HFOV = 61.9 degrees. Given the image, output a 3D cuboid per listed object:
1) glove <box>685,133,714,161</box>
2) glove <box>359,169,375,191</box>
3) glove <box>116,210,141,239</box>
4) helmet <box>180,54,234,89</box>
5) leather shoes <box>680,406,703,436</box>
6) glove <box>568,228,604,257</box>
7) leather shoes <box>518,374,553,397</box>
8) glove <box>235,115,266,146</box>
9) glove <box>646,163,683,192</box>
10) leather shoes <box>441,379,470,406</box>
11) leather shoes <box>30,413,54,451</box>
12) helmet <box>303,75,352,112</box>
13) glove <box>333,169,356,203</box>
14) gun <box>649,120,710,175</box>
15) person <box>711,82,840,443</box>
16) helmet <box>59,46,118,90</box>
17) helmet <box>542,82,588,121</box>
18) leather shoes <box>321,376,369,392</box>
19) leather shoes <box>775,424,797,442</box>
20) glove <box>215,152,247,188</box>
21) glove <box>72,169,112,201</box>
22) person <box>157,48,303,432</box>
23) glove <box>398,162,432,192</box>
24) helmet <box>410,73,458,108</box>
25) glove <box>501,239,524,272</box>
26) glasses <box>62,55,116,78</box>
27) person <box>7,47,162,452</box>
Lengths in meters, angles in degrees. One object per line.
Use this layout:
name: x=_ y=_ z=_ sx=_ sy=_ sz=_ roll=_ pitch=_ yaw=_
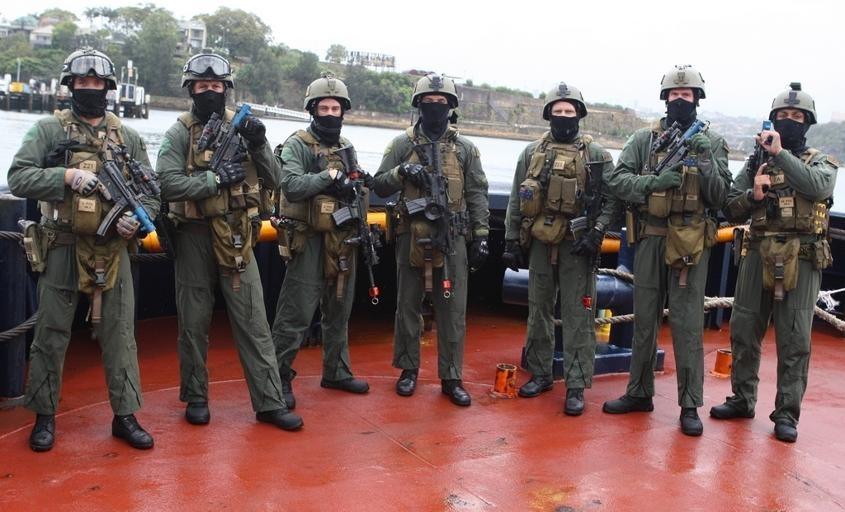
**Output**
glove: x=2.320 y=-0.907 z=5.879 sx=0.203 sy=0.102 sz=0.261 roll=4 pitch=32 yaw=13
glove: x=-0.492 y=-0.668 z=6.153 sx=0.125 sy=0.159 sz=0.065 roll=18 pitch=38 yaw=17
glove: x=-2.247 y=-0.224 z=5.390 sx=0.169 sy=0.266 sz=0.282 roll=-3 pitch=16 yaw=-23
helmet: x=-1.695 y=-1.474 z=5.554 sx=0.303 sy=0.212 sz=0.320 roll=0 pitch=-6 yaw=-14
leather shoes: x=2.285 y=1.414 z=5.991 sx=0.190 sy=0.177 sz=0.204 roll=9 pitch=16 yaw=23
glove: x=1.479 y=-0.117 z=6.329 sx=0.278 sy=0.278 sz=0.156 roll=3 pitch=15 yaw=0
leather shoes: x=1.056 y=1.232 z=6.666 sx=0.362 sy=0.153 sz=0.137 roll=1 pitch=0 yaw=-44
glove: x=-1.358 y=-0.990 z=5.634 sx=0.214 sy=0.251 sz=0.156 roll=-1 pitch=15 yaw=-14
glove: x=2.073 y=-0.654 z=6.009 sx=0.264 sy=0.247 sz=0.142 roll=4 pitch=15 yaw=3
leather shoes: x=0.282 y=1.240 z=6.400 sx=0.131 sy=0.144 sz=0.355 roll=-2 pitch=2 yaw=-22
leather shoes: x=-2.846 y=1.324 z=5.315 sx=0.128 sy=0.144 sz=0.350 roll=8 pitch=16 yaw=-27
helmet: x=-0.827 y=-1.431 z=6.107 sx=0.353 sy=0.265 sz=0.349 roll=-1 pitch=4 yaw=-9
glove: x=-0.684 y=-0.609 z=6.095 sx=0.193 sy=0.251 sz=0.120 roll=16 pitch=-13 yaw=-28
gun: x=2.211 y=-0.911 z=6.030 sx=0.323 sy=0.456 sz=0.109 roll=36 pitch=-8 yaw=36
person: x=3.023 y=0.015 z=6.068 sx=0.926 sy=2.926 sz=0.904 roll=12 pitch=18 yaw=30
helmet: x=-2.502 y=-1.399 z=5.284 sx=0.333 sy=0.234 sz=0.331 roll=-1 pitch=0 yaw=-27
helmet: x=1.298 y=-1.398 z=6.385 sx=0.400 sy=0.334 sz=0.375 roll=5 pitch=15 yaw=7
leather shoes: x=-0.693 y=1.189 z=6.537 sx=0.460 sy=0.164 sz=0.151 roll=-1 pitch=5 yaw=9
leather shoes: x=3.066 y=1.496 z=5.954 sx=0.174 sy=0.116 sz=0.163 roll=9 pitch=15 yaw=21
glove: x=-1.506 y=-0.677 z=5.608 sx=0.290 sy=0.260 sz=0.214 roll=-8 pitch=19 yaw=-37
glove: x=-2.442 y=-0.524 z=5.213 sx=0.262 sy=0.219 sz=0.076 roll=-5 pitch=17 yaw=-27
person: x=-1.631 y=-0.116 z=5.669 sx=0.943 sy=2.926 sz=0.840 roll=-1 pitch=16 yaw=-14
glove: x=-0.069 y=-0.697 z=6.272 sx=0.293 sy=0.244 sz=0.121 roll=9 pitch=16 yaw=23
helmet: x=0.123 y=-1.491 z=6.373 sx=0.432 sy=0.309 sz=0.271 roll=3 pitch=15 yaw=-1
glove: x=0.874 y=-0.002 z=6.703 sx=0.207 sy=0.252 sz=0.097 roll=9 pitch=9 yaw=11
glasses: x=-2.487 y=-1.429 z=5.268 sx=0.238 sy=0.133 sz=0.240 roll=-4 pitch=5 yaw=-38
person: x=-2.523 y=-0.057 z=5.319 sx=1.026 sy=2.916 sz=0.900 roll=-3 pitch=16 yaw=-20
